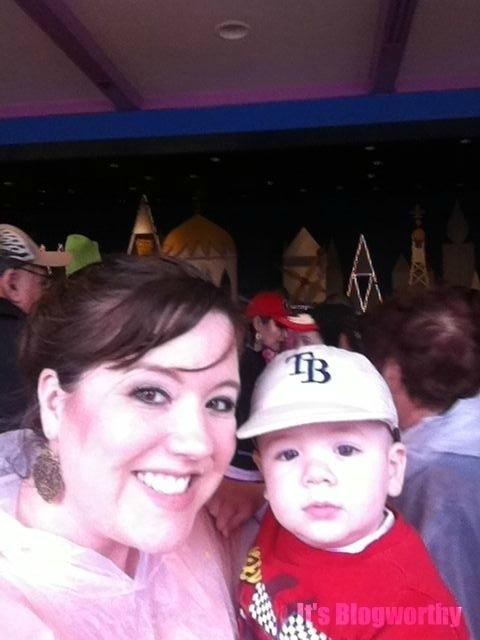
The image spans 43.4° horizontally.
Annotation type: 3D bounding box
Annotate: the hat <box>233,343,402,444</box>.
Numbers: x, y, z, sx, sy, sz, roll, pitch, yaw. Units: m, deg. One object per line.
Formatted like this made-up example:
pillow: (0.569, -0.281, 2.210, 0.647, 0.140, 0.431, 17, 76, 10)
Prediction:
hat: (0.157, 0.125, 1.189, 0.286, 0.173, 0.366, -10, -11, 11)
